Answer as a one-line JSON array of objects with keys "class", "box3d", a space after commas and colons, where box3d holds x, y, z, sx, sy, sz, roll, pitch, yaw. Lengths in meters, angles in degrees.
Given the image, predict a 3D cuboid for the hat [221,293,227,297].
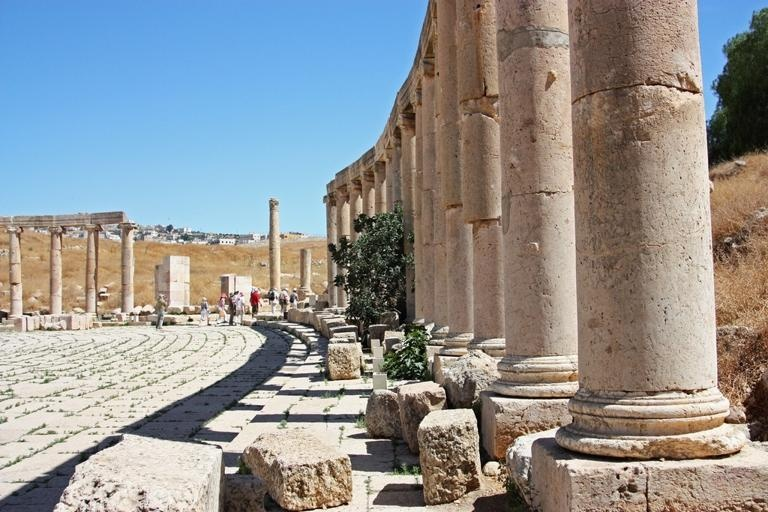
[{"class": "hat", "box3d": [-8.758, 2.155, 42.948, 0.292, 0.194, 0.377, 0, 3, 19]}]
